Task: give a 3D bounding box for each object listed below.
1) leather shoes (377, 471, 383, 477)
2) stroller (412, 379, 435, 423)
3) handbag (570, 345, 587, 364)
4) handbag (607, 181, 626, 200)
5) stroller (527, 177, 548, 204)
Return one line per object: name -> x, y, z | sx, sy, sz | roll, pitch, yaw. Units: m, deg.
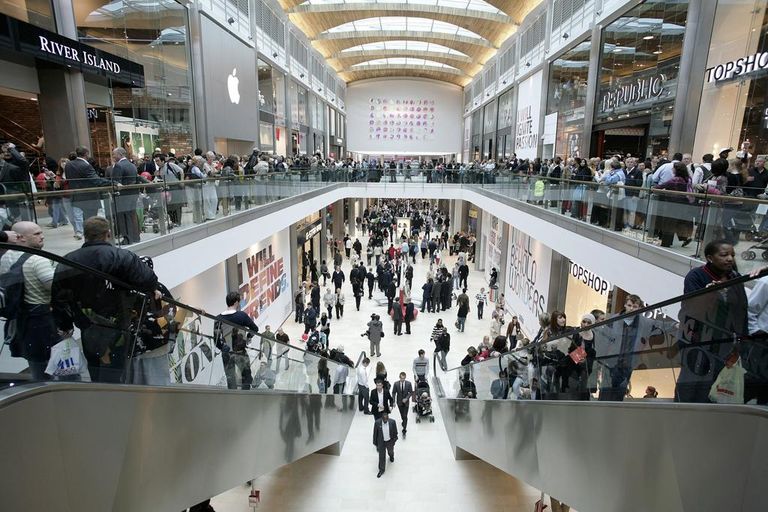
leather shoes -> -0.068, 3.864, 9.049 | 0.122, 0.089, 0.092 | -1, 9, -11
stroller -> 0.899, 3.403, 12.078 | 0.491, 0.937, 0.792 | -1, -1, 1
handbag -> 2.323, 1.168, 6.094 | 0.050, 0.236, 0.278 | -1, 9, -12
handbag -> 4.513, -1.262, 9.876 | 0.321, 0.438, 0.301 | 1, 12, 8
stroller -> 4.205, -1.777, 13.922 | 0.507, 1.015, 0.557 | 8, 13, 35
